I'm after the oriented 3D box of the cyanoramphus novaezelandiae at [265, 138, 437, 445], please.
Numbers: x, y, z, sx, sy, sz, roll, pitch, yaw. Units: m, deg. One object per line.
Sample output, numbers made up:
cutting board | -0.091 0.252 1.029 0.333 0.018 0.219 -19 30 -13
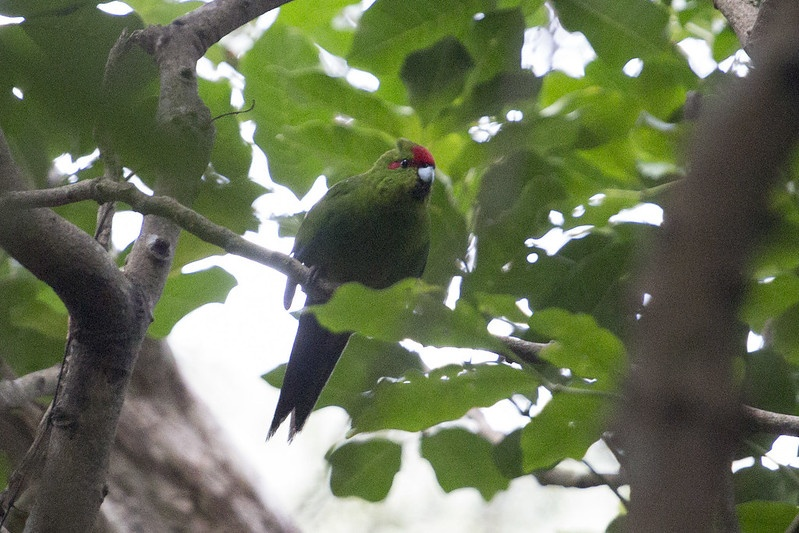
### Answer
cyanoramphus novaezelandiae | -0.117 0.109 3.002 0.282 0.402 0.829 24 -67 -18
